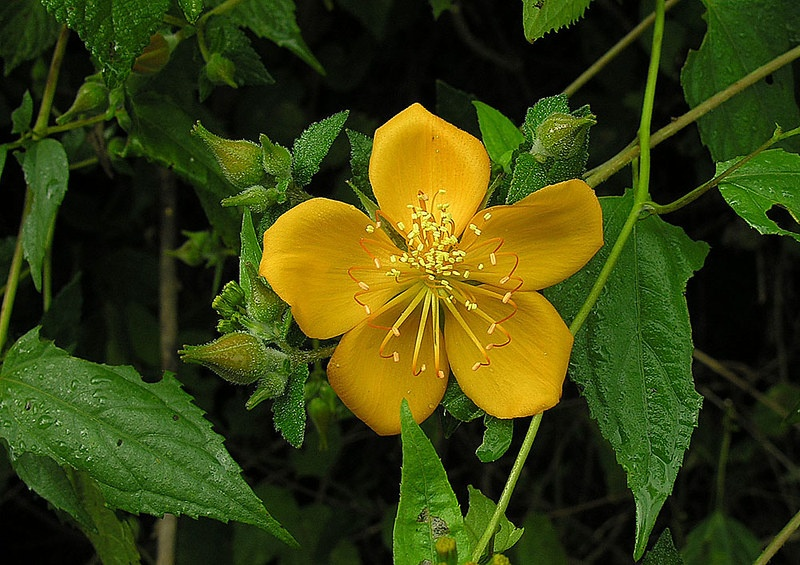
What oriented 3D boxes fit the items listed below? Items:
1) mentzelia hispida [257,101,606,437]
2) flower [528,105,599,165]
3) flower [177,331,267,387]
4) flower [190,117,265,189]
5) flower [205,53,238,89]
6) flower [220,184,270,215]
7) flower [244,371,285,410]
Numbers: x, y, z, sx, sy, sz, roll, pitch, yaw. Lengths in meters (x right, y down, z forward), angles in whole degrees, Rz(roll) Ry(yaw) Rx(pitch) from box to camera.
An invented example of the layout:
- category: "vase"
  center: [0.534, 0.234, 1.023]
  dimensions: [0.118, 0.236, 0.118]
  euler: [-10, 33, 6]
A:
- category: "mentzelia hispida"
  center: [0.058, 0.006, 1.571]
  dimensions: [0.617, 0.170, 0.583]
  euler: [27, 83, 6]
- category: "flower"
  center: [0.303, -0.297, 1.624]
  dimensions: [0.170, 0.116, 0.068]
  euler: [-11, 75, 7]
- category: "flower"
  center: [-0.344, 0.142, 1.549]
  dimensions: [0.141, 0.052, 0.093]
  euler: [4, 88, -13]
- category: "flower"
  center: [-0.352, -0.266, 1.644]
  dimensions: [0.101, 0.168, 0.040]
  euler: [-23, 65, 39]
- category: "flower"
  center: [-0.405, -0.477, 1.853]
  dimensions: [0.065, 0.056, 0.065]
  euler: [-1, 81, 2]
- category: "flower"
  center: [-0.317, -0.170, 1.655]
  dimensions: [0.073, 0.056, 0.040]
  euler: [-3, 110, 7]
- category: "flower"
  center: [-0.275, 0.214, 1.612]
  dimensions: [0.085, 0.045, 0.052]
  euler: [-38, 79, -25]
